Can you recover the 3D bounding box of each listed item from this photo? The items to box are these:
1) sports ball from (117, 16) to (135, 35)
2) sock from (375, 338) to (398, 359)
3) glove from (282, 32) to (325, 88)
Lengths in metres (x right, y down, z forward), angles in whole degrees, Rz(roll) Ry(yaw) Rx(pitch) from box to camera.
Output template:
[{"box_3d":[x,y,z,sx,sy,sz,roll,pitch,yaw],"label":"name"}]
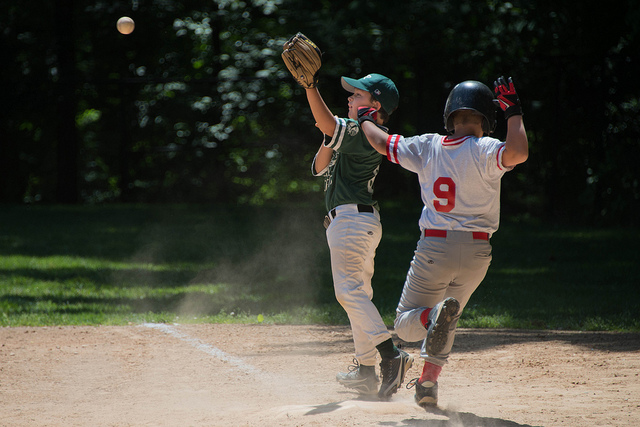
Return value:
[{"box_3d":[-3.725,-3.626,21.836,0.333,0.322,0.180,17,7,-16],"label":"sports ball"},{"box_3d":[0.875,1.778,14.925,0.239,0.304,0.185,-21,-3,14],"label":"sock"},{"box_3d":[-0.207,-2.012,14.914,0.523,0.709,0.257,-39,-1,13],"label":"glove"}]
